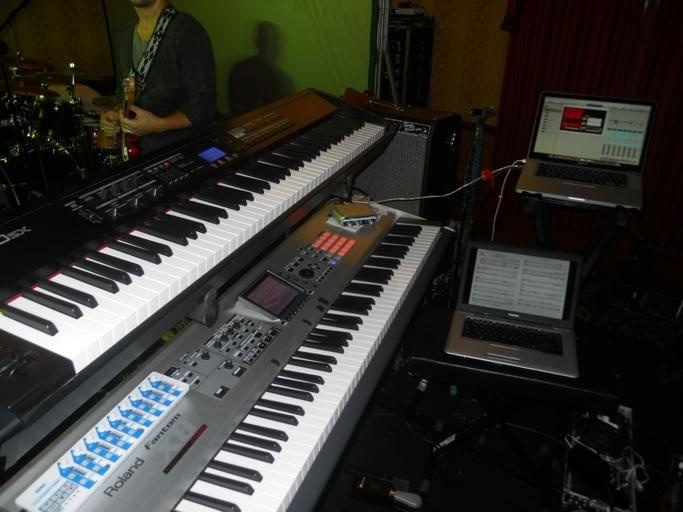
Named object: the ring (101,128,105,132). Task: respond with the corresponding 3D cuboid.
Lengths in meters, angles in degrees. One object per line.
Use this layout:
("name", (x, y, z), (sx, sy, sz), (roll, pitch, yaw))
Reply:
("ring", (-0.874, -0.460, 1.822), (0.013, 0.011, 0.003), (2, 4, 6))

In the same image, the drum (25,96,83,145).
("drum", (-0.928, -0.427, 1.637), (0.140, 0.122, 0.132), (21, 33, -2))
